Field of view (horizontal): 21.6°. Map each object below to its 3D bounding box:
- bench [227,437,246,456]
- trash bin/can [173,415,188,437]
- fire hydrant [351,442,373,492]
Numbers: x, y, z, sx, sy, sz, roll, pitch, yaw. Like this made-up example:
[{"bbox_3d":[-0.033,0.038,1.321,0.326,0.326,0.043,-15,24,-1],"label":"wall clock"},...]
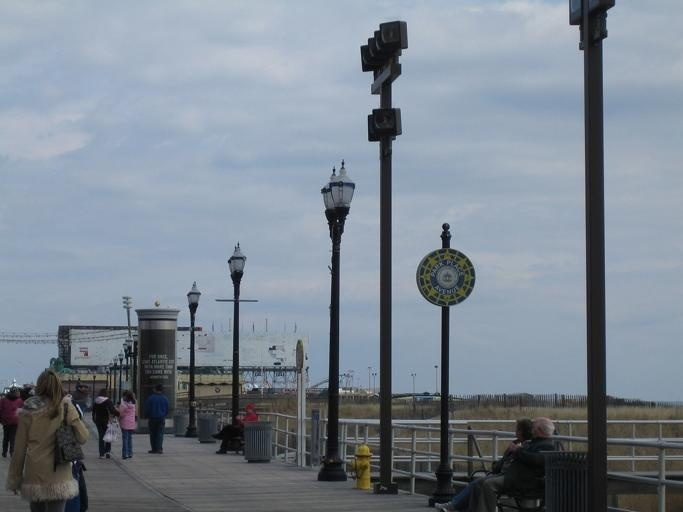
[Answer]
[{"bbox_3d":[-3.363,6.224,57.792,0.615,0.612,0.487,5,-3,38],"label":"bench"},{"bbox_3d":[-6.279,6.642,69.273,0.827,1.076,0.710,2,-8,-8],"label":"trash bin/can"},{"bbox_3d":[0.505,5.671,47.776,0.595,1.152,0.563,-4,-2,2],"label":"fire hydrant"}]
